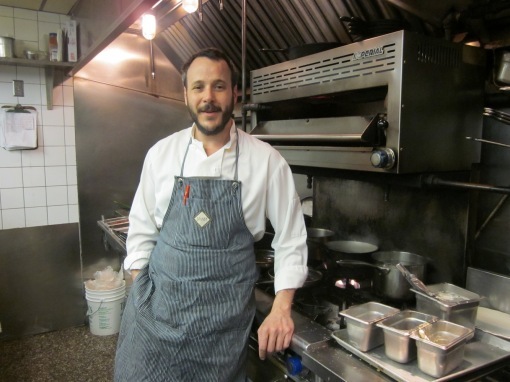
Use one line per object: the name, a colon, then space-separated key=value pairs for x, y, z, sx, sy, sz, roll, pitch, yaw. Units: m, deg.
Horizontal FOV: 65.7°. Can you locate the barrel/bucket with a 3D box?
barrel/bucket: x=-1.485 y=1.224 z=4.128 sx=0.441 sy=0.528 sz=0.460 roll=1 pitch=1 yaw=0

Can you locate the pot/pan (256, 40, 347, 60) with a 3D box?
pot/pan: x=0.280 y=-0.780 z=2.204 sx=0.337 sy=0.053 sz=0.223 roll=-1 pitch=8 yaw=31

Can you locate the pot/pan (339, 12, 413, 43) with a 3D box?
pot/pan: x=0.563 y=-0.780 z=1.883 sx=0.238 sy=0.091 sz=0.173 roll=-7 pitch=10 yaw=-36

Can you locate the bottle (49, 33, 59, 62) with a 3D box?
bottle: x=-1.902 y=-1.357 z=3.744 sx=0.066 sy=0.271 sz=0.153 roll=0 pitch=3 yaw=-31

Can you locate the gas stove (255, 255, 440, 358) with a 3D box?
gas stove: x=0.354 y=0.535 z=1.820 sx=0.701 sy=0.414 sz=0.564 roll=1 pitch=2 yaw=-18
